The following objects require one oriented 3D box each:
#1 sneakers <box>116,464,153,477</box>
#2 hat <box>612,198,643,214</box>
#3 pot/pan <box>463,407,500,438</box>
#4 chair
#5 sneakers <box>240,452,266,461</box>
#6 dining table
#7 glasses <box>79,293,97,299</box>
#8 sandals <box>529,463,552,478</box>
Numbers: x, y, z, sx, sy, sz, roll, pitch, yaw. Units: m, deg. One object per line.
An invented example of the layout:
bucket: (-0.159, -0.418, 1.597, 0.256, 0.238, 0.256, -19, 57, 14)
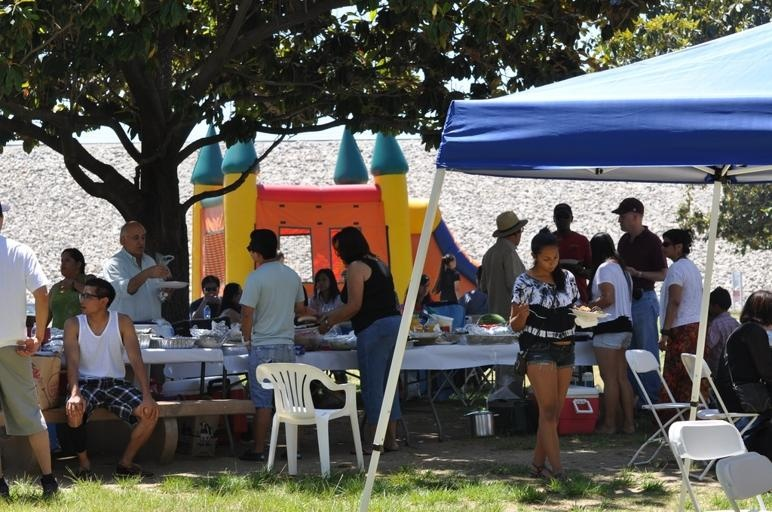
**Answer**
sneakers: (-2.663, 2.273, 12.746, 0.407, 0.156, 0.146, 3, -4, -8)
hat: (3.006, -0.616, 14.698, 0.322, 0.194, 0.229, 3, 1, 7)
pot/pan: (1.180, 2.024, 14.471, 0.346, 0.263, 0.254, 0, -7, -3)
chair: (3.175, 1.720, 11.173, 1.011, 1.721, 1.611, 1, -6, -25)
sneakers: (-1.475, 2.220, 13.422, 0.279, 0.120, 0.103, 3, -3, 26)
dining table: (0.264, 1.546, 14.140, 5.988, 1.174, 0.398, -3, 5, -23)
glasses: (-3.149, 0.415, 12.651, 0.211, 0.061, 0.091, -4, -5, 34)
sandals: (1.649, 2.227, 12.388, 0.105, 0.148, 0.320, 2, -5, -36)
